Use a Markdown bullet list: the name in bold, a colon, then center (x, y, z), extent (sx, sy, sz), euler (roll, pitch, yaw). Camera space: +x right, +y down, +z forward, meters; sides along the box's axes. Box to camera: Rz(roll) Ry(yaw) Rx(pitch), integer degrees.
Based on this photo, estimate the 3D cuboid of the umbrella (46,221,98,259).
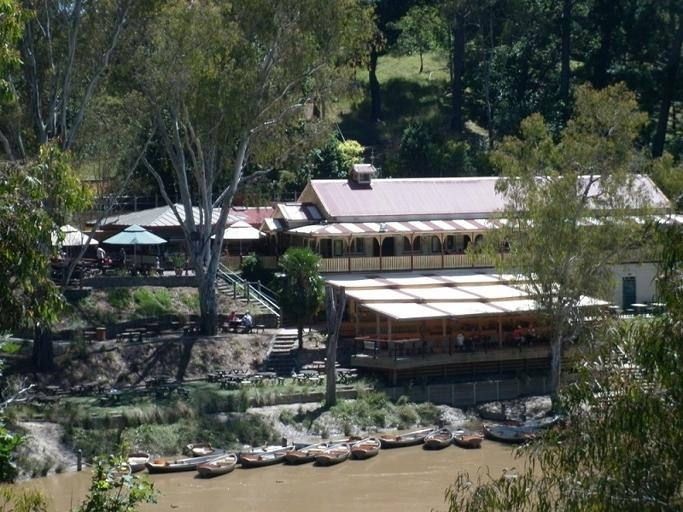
- **umbrella**: center (-17.248, -0.801, 104.624), extent (2.970, 3.510, 3.191), euler (-6, 2, -18)
